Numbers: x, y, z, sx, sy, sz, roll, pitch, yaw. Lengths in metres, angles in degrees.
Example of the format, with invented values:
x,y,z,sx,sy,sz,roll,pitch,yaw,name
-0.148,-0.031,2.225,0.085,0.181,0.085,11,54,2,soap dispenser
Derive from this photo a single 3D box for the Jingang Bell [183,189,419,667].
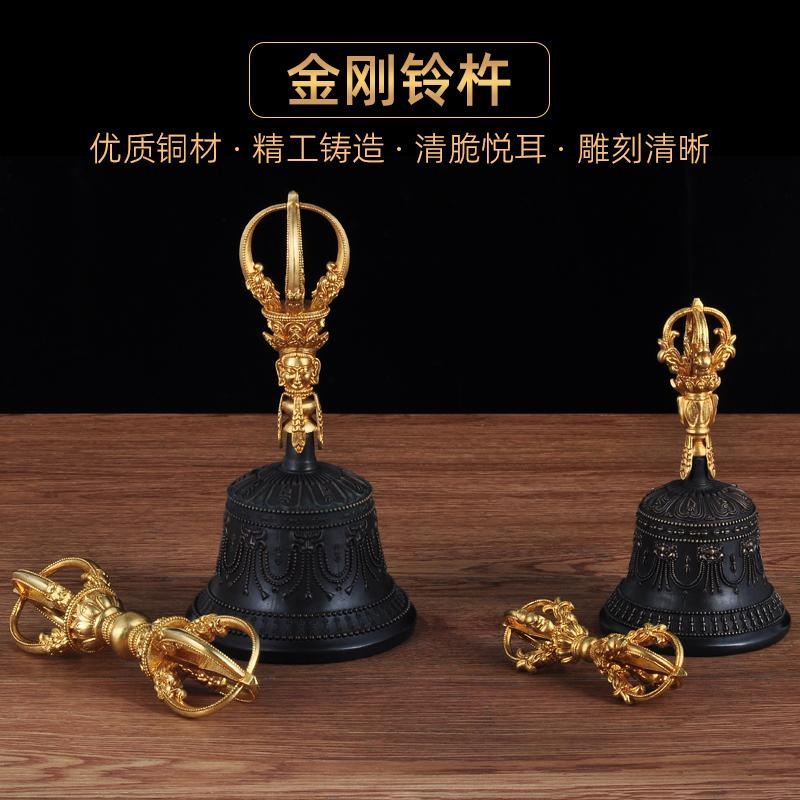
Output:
x,y,z,sx,sy,sz,roll,pitch,yaw,name
-0.252,0.055,2.643,0.544,1.078,0.337,-2,9,0,Jingang Bell

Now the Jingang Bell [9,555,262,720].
x,y,z,sx,sy,sz,roll,pitch,yaw,name
-0.584,0.537,2.526,0.646,0.212,0.272,9,31,30,Jingang Bell

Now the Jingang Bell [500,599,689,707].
x,y,z,sx,sy,sz,roll,pitch,yaw,name
0.426,0.559,2.482,0.378,0.116,0.194,12,50,23,Jingang Bell

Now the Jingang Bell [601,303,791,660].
x,y,z,sx,sy,sz,roll,pitch,yaw,name
0.699,0.172,2.644,0.464,0.820,0.252,-1,9,5,Jingang Bell
